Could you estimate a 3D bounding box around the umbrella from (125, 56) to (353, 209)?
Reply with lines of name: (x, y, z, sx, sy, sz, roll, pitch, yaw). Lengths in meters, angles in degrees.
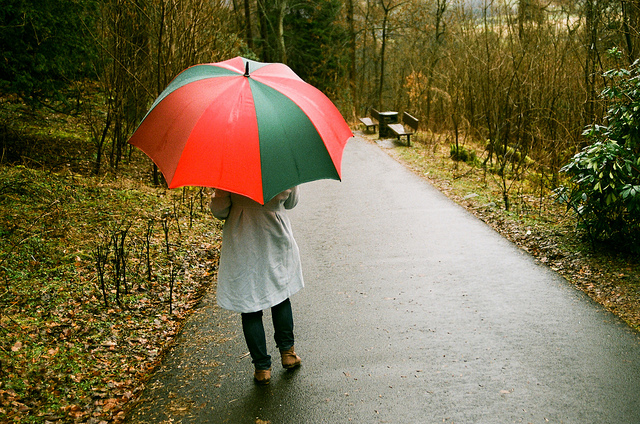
umbrella: (-0.999, -1.418, 7.338, 2.897, 1.143, 3.106, 13, 35, 5)

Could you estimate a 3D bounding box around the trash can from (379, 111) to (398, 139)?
trash can: (3.010, -3.626, 22.096, 0.946, 1.143, 1.000, -3, 5, -21)

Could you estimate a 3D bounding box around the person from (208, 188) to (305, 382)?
person: (-0.810, 1.011, 7.156, 1.178, 2.589, 0.668, -3, 16, -14)
